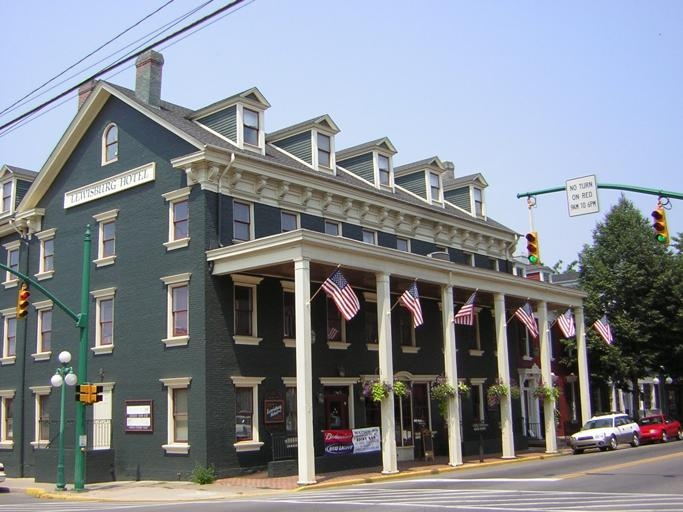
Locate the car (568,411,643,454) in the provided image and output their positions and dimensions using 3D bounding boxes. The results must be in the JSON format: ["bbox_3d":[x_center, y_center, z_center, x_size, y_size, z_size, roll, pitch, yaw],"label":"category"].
[{"bbox_3d":[13.540,8.994,36.459,3.954,1.758,1.283,9,-23,-37],"label":"car"}]

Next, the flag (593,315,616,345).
[{"bbox_3d":[14.122,3.889,38.323,0.583,1.693,2.296,-13,-20,22],"label":"flag"}]

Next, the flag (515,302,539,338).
[{"bbox_3d":[8.992,2.990,34.440,0.565,1.745,1.086,-18,-22,35],"label":"flag"}]

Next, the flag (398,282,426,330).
[{"bbox_3d":[3.245,2.292,33.416,0.373,1.429,3.157,-44,-9,-2],"label":"flag"}]

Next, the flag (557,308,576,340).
[{"bbox_3d":[11.604,3.364,36.691,0.637,1.576,1.427,-13,-20,23],"label":"flag"}]

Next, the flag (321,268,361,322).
[{"bbox_3d":[0.288,1.634,27.728,0.119,2.164,1.720,-26,-31,-27],"label":"flag"}]
